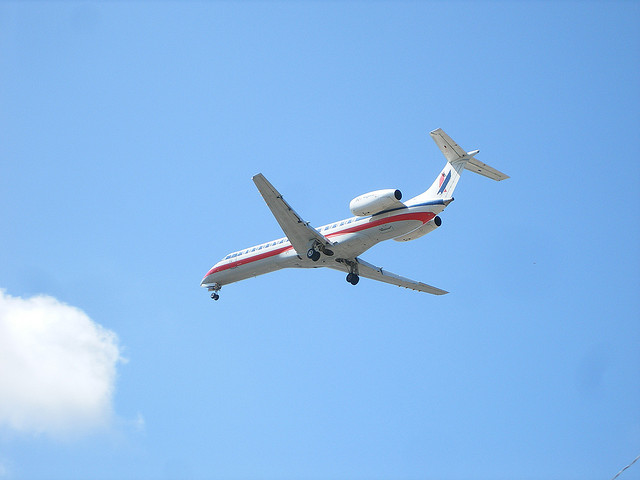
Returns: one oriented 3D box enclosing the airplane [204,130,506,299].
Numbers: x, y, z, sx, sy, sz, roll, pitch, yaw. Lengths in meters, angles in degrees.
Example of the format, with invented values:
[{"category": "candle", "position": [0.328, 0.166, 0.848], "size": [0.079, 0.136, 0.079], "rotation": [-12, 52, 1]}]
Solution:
[{"category": "airplane", "position": [0.184, 0.019, 36.406], "size": [8.517, 2.436, 7.474], "rotation": [-22, -35, 34]}]
